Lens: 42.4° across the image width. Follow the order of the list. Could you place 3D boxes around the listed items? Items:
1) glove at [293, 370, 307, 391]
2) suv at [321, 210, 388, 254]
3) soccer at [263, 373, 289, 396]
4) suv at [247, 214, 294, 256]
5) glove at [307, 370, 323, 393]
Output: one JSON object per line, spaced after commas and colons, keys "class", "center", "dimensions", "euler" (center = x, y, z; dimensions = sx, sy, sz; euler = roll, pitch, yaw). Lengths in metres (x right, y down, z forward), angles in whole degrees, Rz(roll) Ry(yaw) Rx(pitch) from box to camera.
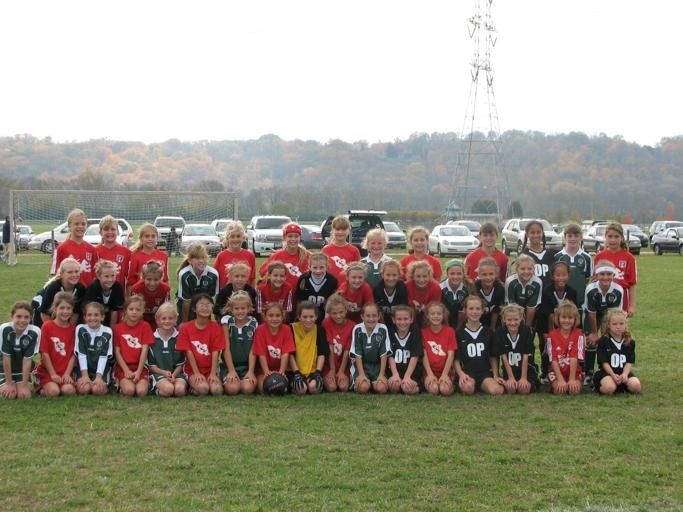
{"class": "glove", "center": [-0.445, 1.353, 9.403], "dimensions": [0.157, 0.211, 0.136], "euler": [1, 1, 0]}
{"class": "suv", "center": [0.592, -0.814, 25.216], "dimensions": [1.168, 1.107, 1.773], "euler": [0, 15, -5]}
{"class": "soccer", "center": [-0.687, 1.363, 9.278], "dimensions": [0.223, 0.176, 0.221], "euler": [-6, 24, -24]}
{"class": "suv", "center": [-2.249, -0.634, 27.390], "dimensions": [1.272, 1.183, 2.811], "euler": [-1, 0, -8]}
{"class": "glove", "center": [-0.280, 1.365, 9.437], "dimensions": [0.089, 0.215, 0.137], "euler": [-19, -31, 28]}
